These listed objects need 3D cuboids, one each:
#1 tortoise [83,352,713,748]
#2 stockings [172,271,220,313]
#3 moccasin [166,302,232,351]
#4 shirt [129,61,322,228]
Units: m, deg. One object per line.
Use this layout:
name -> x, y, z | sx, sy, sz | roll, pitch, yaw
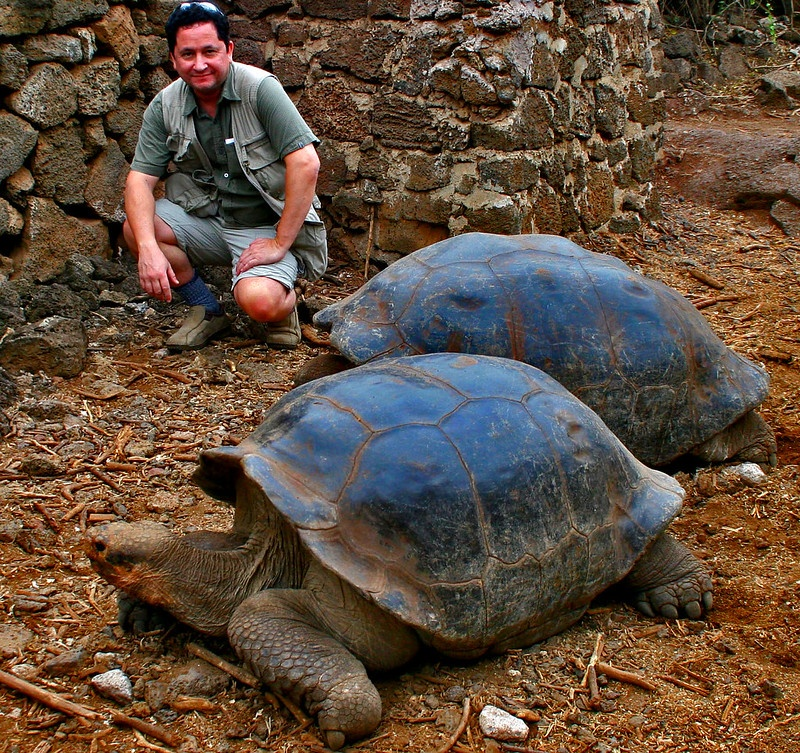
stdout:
tortoise -> 0.075, 0.395, 2.458 | 1.695, 0.532, 0.956 | -4, 16, -24
stockings -> -0.970, -0.400, 4.205 | 0.264, 0.103, 0.134 | 33, 25, -13
moccasin -> -0.963, -0.240, 4.150 | 0.139, 0.141, 0.352 | 15, 28, 28
shirt -> -0.800, -1.096, 4.080 | 1.057, 0.688, 0.312 | 4, 25, 27
